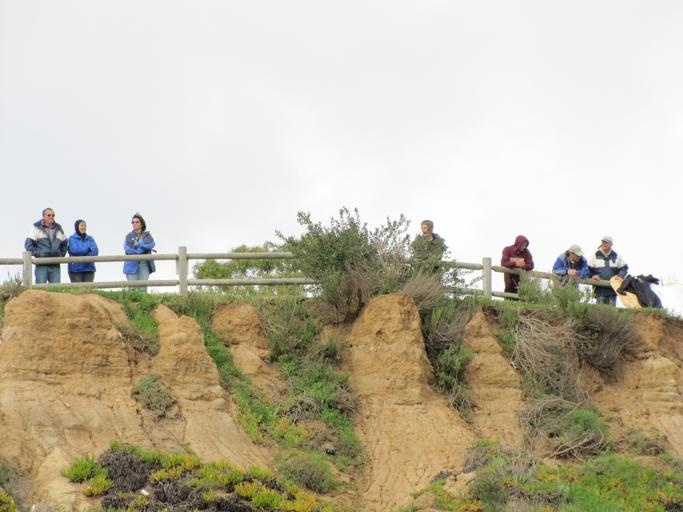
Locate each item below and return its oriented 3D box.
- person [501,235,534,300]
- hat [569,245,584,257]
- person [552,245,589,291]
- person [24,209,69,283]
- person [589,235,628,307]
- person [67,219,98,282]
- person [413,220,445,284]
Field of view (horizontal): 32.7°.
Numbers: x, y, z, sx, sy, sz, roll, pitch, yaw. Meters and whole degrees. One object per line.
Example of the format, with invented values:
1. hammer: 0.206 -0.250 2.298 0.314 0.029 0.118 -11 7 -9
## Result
1. person: 4.278 0.198 28.560 0.735 1.394 1.247 -2 -6 8
2. hat: 5.090 -0.111 25.434 0.189 0.167 0.254 -15 17 -40
3. person: 5.653 0.254 28.936 0.836 1.039 1.005 -3 -6 13
4. person: -7.033 0.074 28.181 0.902 2.791 0.551 -6 28 -26
5. person: 6.688 0.613 29.473 0.850 2.358 0.738 0 23 17
6. person: -5.811 -0.249 26.278 0.684 1.598 3.895 0 -7 -13
7. person: 2.037 -0.196 27.330 0.762 1.383 0.882 -2 -5 5
